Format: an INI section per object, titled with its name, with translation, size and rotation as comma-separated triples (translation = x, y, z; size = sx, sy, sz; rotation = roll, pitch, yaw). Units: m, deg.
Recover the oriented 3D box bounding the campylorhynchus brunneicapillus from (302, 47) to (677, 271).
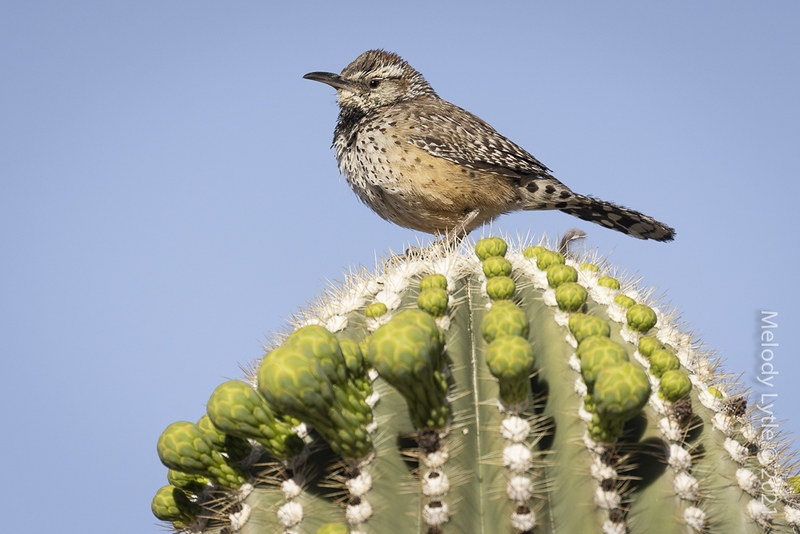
[campylorhynchus brunneicapillus]
translation = 0.667, -0.698, 9.087
size = 2.432, 0.935, 1.335
rotation = 4, -96, -5
